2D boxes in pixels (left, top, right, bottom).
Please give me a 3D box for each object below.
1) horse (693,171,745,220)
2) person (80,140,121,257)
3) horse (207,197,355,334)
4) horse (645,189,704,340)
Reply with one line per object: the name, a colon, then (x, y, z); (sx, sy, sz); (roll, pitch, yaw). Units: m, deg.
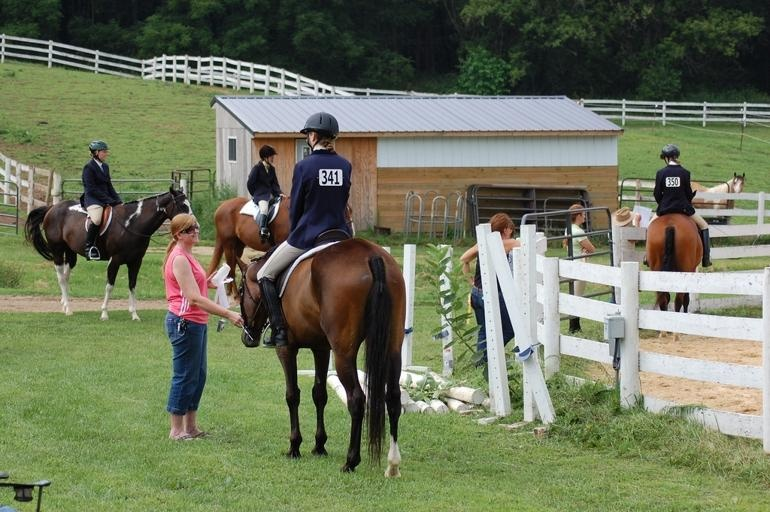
horse: (14.900, -2.469, 63.346); (0.904, 2.518, 3.760); (-5, 4, -35)
person: (-10.917, -2.147, 52.954); (1.191, 4.588, 0.798); (1, 4, -12)
horse: (-4.540, -0.476, 55.004); (6.698, 5.178, 1.737); (5, 11, 28)
horse: (10.561, 0.716, 51.147); (1.922, 4.666, 1.342); (2, 4, 9)
